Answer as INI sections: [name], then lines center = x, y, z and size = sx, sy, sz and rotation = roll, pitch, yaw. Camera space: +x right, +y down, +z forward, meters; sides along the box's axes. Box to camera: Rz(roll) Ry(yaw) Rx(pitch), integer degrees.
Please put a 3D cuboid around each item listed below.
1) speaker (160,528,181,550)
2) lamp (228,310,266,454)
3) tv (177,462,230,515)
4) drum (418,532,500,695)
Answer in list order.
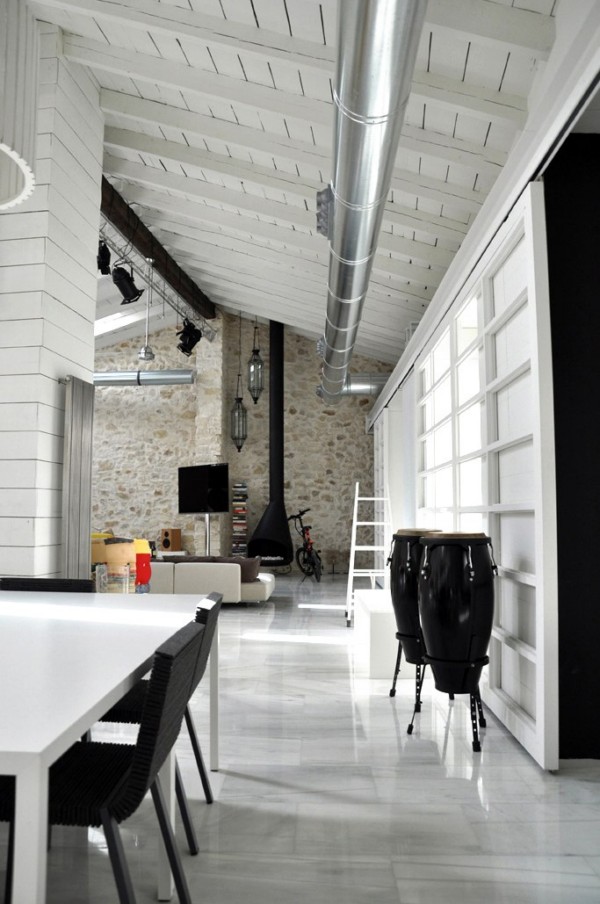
[speaker]
center = -2.133, 1.485, 11.449
size = 0.266, 0.533, 0.367
rotation = -2, -9, 9
[lamp]
center = -0.946, -1.226, 11.983
size = 0.574, 2.390, 1.101
rotation = 2, -4, -6
[tv]
center = -1.599, 0.623, 11.217
size = 0.729, 0.807, 0.079
rotation = -1, -9, 12
[drum]
center = 0.684, 0.710, 3.034
size = 0.320, 0.677, 0.336
rotation = -3, -5, 0
